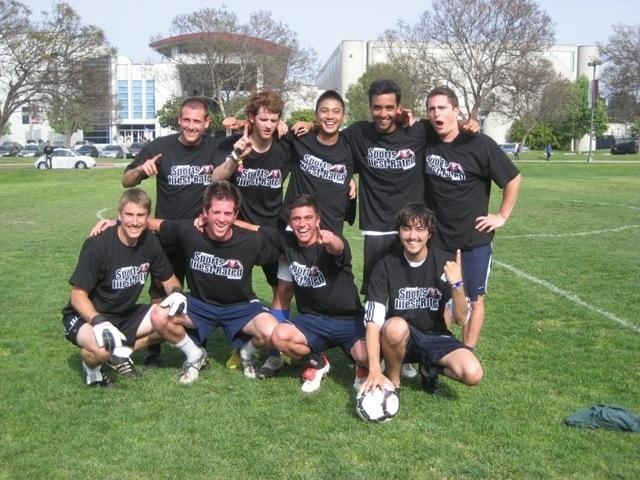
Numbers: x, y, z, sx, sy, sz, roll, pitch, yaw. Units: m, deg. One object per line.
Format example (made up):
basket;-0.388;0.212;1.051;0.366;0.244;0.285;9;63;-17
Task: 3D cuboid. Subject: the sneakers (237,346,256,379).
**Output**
sneakers;-0.778;1.280;5.841;0.132;0.415;0.166;-9;-8;-34

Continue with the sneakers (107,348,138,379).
sneakers;-2.033;1.263;5.574;0.154;0.367;0.126;-39;20;9

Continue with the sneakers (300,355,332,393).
sneakers;-0.069;1.345;5.624;0.163;0.446;0.201;-2;-36;41

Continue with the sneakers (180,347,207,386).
sneakers;-1.324;1.331;5.762;0.146;0.177;0.433;-17;19;20

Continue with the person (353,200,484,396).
person;0.961;0.621;5.270;1.066;1.842;0.874;1;13;3

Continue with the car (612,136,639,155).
car;28.515;-8.751;51.175;1.151;1.181;2.209;-6;19;-13

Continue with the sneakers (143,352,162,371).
sneakers;-1.861;1.339;6.027;0.169;0.175;0.120;1;3;36

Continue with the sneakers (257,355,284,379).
sneakers;-0.554;1.333;5.815;0.124;0.153;0.365;5;11;33

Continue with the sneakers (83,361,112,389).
sneakers;-2.244;1.330;5.500;0.213;0.253;0.226;-10;16;-36

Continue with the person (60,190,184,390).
person;-2.043;0.476;5.614;1.123;1.964;0.750;-8;15;-31

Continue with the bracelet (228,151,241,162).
bracelet;-0.925;-0.906;5.913;0.112;0.142;0.224;-2;14;-9

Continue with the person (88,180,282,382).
person;-1.409;0.455;5.797;1.847;1.485;0.744;0;16;-16

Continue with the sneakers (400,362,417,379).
sneakers;0.942;1.389;5.873;0.148;0.087;0.217;0;5;-3

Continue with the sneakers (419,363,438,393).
sneakers;1.034;1.371;5.421;0.113;0.257;0.352;-2;-4;-16
